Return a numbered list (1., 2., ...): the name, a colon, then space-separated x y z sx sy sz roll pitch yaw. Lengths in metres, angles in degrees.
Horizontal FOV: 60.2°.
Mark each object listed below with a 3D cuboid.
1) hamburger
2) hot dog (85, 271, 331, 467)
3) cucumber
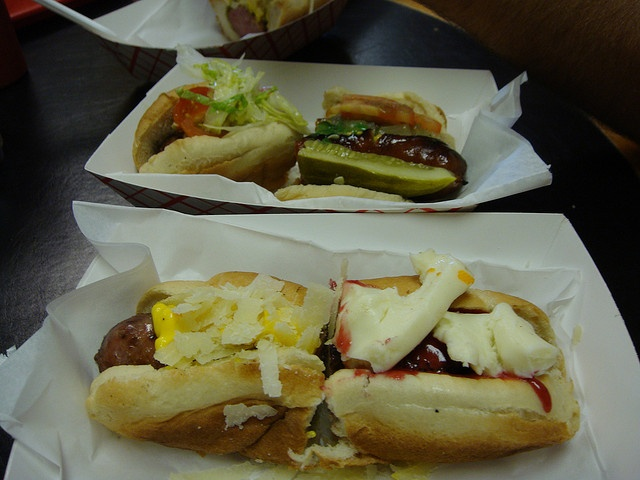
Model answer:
1. hamburger: -0.502 -0.502 2.949 0.623 0.360 0.788 36 58 14
2. hot dog: -0.425 0.476 2.211 0.930 0.431 0.683 13 32 -4
3. cucumber: 0.262 -0.306 2.714 0.768 0.238 0.172 16 62 10
